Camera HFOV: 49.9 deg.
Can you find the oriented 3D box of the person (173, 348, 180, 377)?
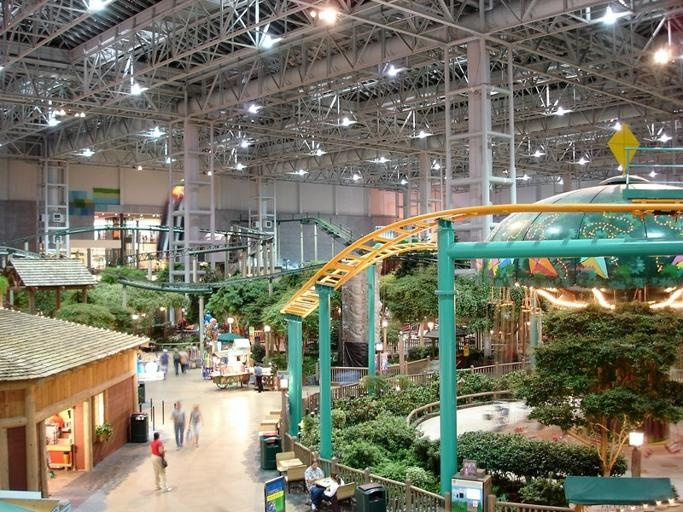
[{"bbox_3d":[-9.513,6.200,42.336,0.317,1.302,1.329,-2,-2,-12],"label":"person"}]

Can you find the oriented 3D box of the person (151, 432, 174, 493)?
[{"bbox_3d":[-5.971,6.684,24.090,0.505,1.846,1.003,-2,-2,-16],"label":"person"}]

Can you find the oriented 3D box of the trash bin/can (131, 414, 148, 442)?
[{"bbox_3d":[-7.899,6.692,28.466,0.654,1.080,0.306,-3,-1,3],"label":"trash bin/can"}]

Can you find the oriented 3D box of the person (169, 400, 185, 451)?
[{"bbox_3d":[-6.259,6.441,28.204,0.453,1.623,1.464,-2,-2,-13],"label":"person"}]

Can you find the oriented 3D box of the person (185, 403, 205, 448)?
[{"bbox_3d":[-5.703,6.471,28.184,0.496,1.497,1.019,-2,-2,-13],"label":"person"}]
